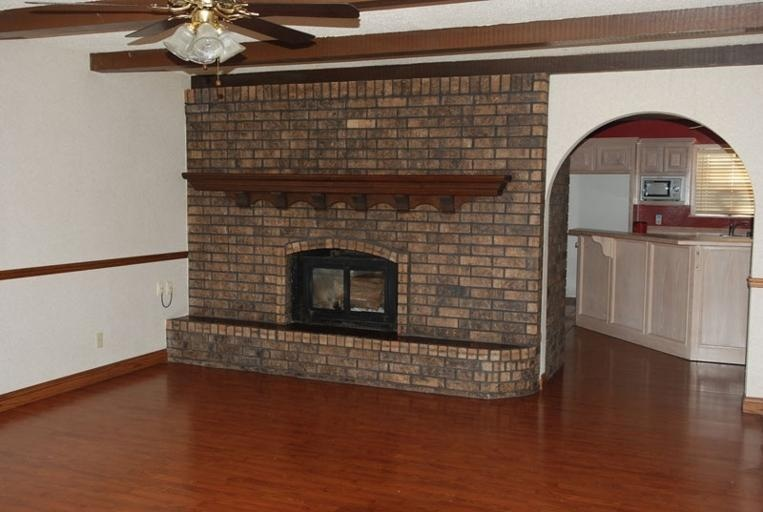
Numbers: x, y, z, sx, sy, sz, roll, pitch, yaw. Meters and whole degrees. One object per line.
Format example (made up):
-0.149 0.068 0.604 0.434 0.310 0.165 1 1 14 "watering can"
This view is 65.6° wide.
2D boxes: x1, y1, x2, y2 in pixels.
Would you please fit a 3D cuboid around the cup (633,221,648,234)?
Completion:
3.646 -0.406 8.289 0.208 0.143 0.257 0 -1 -12 "cup"
